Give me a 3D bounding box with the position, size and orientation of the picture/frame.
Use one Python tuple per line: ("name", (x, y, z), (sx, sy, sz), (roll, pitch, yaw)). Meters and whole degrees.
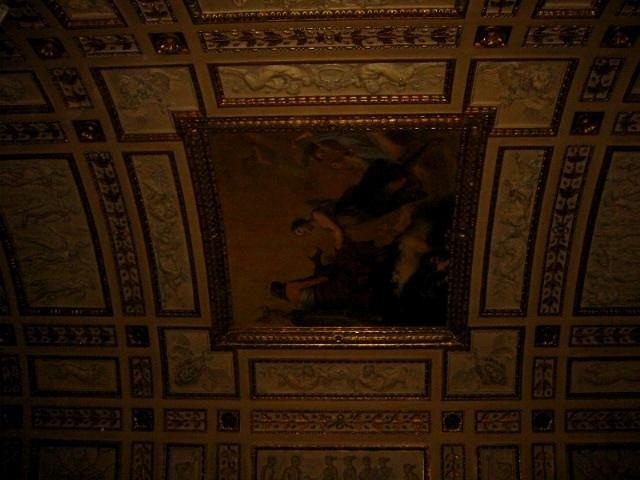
("picture/frame", (0.346, -0.371, 13.256), (6.985, 0.250, 4.094), (0, -56, 4))
